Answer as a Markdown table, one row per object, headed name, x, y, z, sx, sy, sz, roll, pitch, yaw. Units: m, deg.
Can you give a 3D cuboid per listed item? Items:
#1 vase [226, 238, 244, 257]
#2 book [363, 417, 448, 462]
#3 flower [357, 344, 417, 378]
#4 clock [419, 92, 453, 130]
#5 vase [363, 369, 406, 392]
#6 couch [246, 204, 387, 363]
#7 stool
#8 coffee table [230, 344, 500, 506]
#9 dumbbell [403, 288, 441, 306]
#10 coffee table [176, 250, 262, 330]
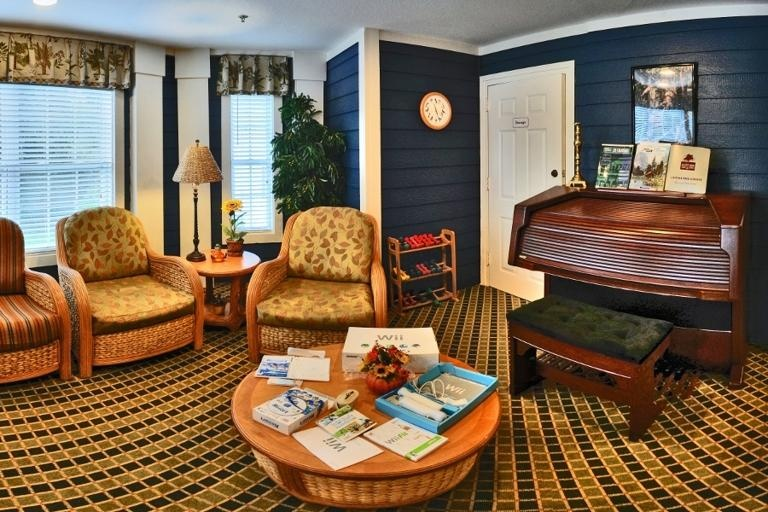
| name | x | y | z | sx | sy | sz | roll | pitch | yaw |
| --- | --- | --- | --- | --- | --- | --- | --- | --- | --- |
| vase | -1.554 | -0.083 | 5.455 | 0.193 | 0.140 | 0.181 | -2 | 6 | -25 |
| book | 0.128 | 1.092 | 3.088 | 0.417 | 0.082 | 0.238 | 8 | 15 | 33 |
| flower | 0.000 | 0.693 | 3.438 | 0.254 | 0.092 | 0.239 | 3 | 1 | -35 |
| clock | 0.570 | -1.634 | 5.829 | 0.503 | 0.433 | 0.041 | -5 | 5 | -39 |
| vase | 0.026 | 0.827 | 3.434 | 0.192 | 0.126 | 0.184 | 6 | -5 | -17 |
| couch | -0.511 | 0.145 | 5.029 | 1.315 | 1.109 | 1.448 | 0 | 10 | 4 |
| stool | 1.528 | 0.794 | 3.935 | 1.041 | 0.810 | 0.580 | 9 | 16 | 33 |
| coffee table | -0.174 | 1.194 | 3.311 | 1.721 | 0.594 | 0.864 | 3 | 14 | 15 |
| dumbbell | 0.414 | 0.470 | 5.880 | 0.469 | 0.150 | 0.261 | -5 | 14 | -21 |
| coffee table | -1.736 | 0.285 | 5.339 | 0.902 | 0.639 | 0.825 | -4 | 23 | -28 |
